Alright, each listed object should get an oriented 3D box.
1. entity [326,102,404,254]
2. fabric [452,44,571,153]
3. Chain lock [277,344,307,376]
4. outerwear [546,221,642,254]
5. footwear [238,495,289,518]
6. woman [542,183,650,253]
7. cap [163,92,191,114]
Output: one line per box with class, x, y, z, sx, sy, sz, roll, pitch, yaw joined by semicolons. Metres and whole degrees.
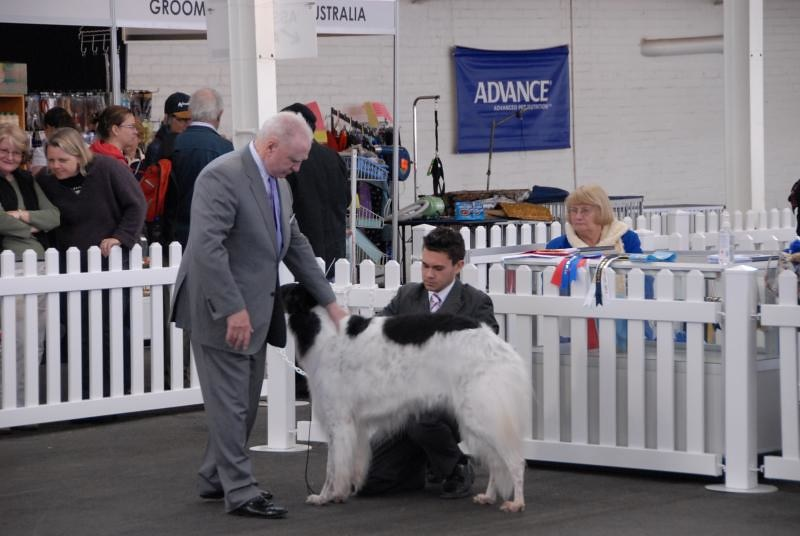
entity;-0.393;-0.983;15.584;0.666;1.701;1.689;-2;7;-6
fabric;1.656;-2.632;21.065;1.531;1.390;0.117;-3;3;-20
Chain lock;-0.862;0.718;10.835;0.008;0.343;0.103;-34;2;34
outerwear;1.754;-0.240;11.962;0.514;0.194;0.403;2;4;19
footwear;-1.027;1.772;10.184;0.351;0.160;0.159;0;-1;1
woman;1.714;-0.378;12.129;0.885;0.851;0.536;0;1;18
cap;-2.247;-1.626;13.628;0.183;0.158;0.269;-16;17;-41
